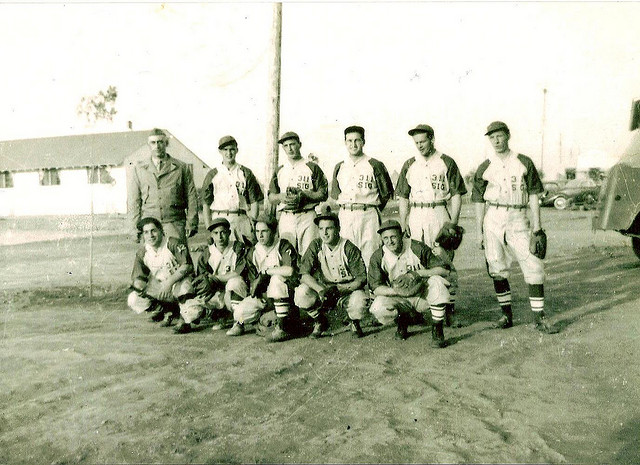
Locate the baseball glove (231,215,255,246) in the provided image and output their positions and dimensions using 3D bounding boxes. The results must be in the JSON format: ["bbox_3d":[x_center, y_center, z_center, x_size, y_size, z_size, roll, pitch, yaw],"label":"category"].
[{"bbox_3d":[-1.056,-0.041,8.748,0.100,0.382,0.353,-27,-25,36],"label":"baseball glove"}]

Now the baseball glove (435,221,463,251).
[{"bbox_3d":[1.637,0.046,8.182,0.345,0.359,0.247,1,5,20],"label":"baseball glove"}]

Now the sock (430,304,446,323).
[{"bbox_3d":[1.441,0.980,7.734,0.188,0.205,0.195,-2,0,-4],"label":"sock"}]

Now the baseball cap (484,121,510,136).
[{"bbox_3d":[2.217,-1.302,7.989,0.275,0.164,0.236,1,5,15],"label":"baseball cap"}]

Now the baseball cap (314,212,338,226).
[{"bbox_3d":[0.057,-0.169,7.990,0.314,0.169,0.274,0,5,10],"label":"baseball cap"}]

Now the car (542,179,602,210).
[{"bbox_3d":[6.261,-0.999,16.649,1.803,0.885,1.045,0,3,-2],"label":"car"}]

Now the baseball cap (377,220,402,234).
[{"bbox_3d":[0.850,-0.070,7.825,0.268,0.161,0.216,0,5,5],"label":"baseball cap"}]

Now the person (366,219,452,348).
[{"bbox_3d":[1.107,0.609,7.876,0.959,1.467,0.803,-10,6,19],"label":"person"}]

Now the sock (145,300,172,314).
[{"bbox_3d":[-2.219,1.009,8.670,0.364,0.249,0.206,-5,7,-40],"label":"sock"}]

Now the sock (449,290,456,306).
[{"bbox_3d":[1.709,0.878,8.307,0.048,0.223,0.383,0,5,13],"label":"sock"}]

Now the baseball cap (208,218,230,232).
[{"bbox_3d":[-1.326,-0.095,8.263,0.281,0.173,0.221,-1,5,-2],"label":"baseball cap"}]

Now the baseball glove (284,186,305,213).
[{"bbox_3d":[-0.343,-0.431,8.512,0.273,0.350,0.469,-1,5,-4],"label":"baseball glove"}]

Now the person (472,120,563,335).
[{"bbox_3d":[2.420,-0.065,8.088,0.966,2.652,0.415,0,5,14],"label":"person"}]

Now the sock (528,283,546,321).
[{"bbox_3d":[2.722,0.869,8.021,0.166,0.576,0.142,1,23,24],"label":"sock"}]

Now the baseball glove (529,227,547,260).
[{"bbox_3d":[2.686,0.145,7.940,0.106,0.347,0.233,1,-5,40],"label":"baseball glove"}]

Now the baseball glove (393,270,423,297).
[{"bbox_3d":[1.070,0.638,7.831,0.360,0.304,0.151,0,5,9],"label":"baseball glove"}]

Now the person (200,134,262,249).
[{"bbox_3d":[-1.208,-0.399,8.857,0.818,1.919,0.534,-2,20,-6],"label":"person"}]

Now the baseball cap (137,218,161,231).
[{"bbox_3d":[-2.292,-0.104,8.418,0.182,0.188,0.415,-5,7,-41],"label":"baseball cap"}]

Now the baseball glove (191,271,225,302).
[{"bbox_3d":[-1.441,0.684,8.402,0.296,0.403,0.406,-5,24,27],"label":"baseball glove"}]

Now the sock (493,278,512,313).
[{"bbox_3d":[2.355,0.804,8.257,0.205,0.467,0.287,1,5,16],"label":"sock"}]

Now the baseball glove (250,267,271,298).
[{"bbox_3d":[-0.757,0.648,8.167,0.118,0.384,0.250,13,10,18],"label":"baseball glove"}]

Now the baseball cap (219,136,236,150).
[{"bbox_3d":[-1.243,-1.209,8.572,0.220,0.175,0.159,-2,5,-10],"label":"baseball cap"}]
